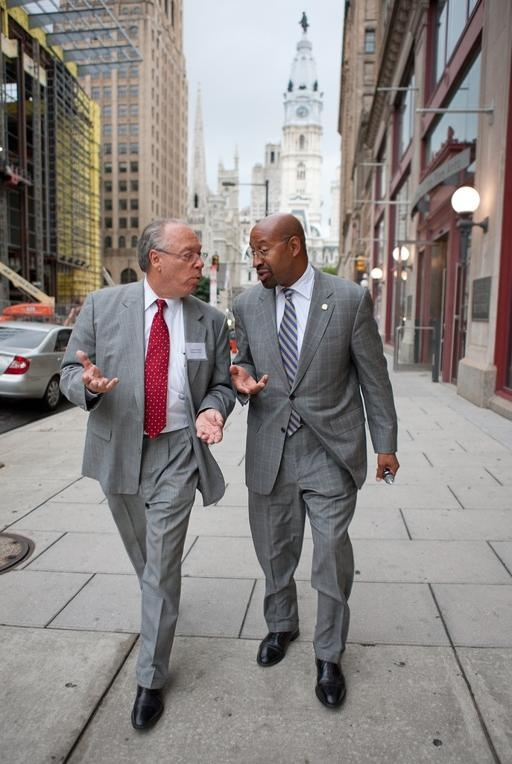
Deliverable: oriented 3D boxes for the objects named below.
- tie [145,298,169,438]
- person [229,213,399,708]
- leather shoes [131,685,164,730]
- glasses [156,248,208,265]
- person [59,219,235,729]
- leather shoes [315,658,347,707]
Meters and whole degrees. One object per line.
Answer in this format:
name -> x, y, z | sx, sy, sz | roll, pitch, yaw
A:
tie -> -0.391, -0.062, 2.383 | 0.093, 0.537, 0.134 | -1, 4, -2
person -> 0.202, 0.243, 2.509 | 0.650, 1.812, 0.517 | 3, 5, 41
leather shoes -> -0.373, 1.122, 2.072 | 0.096, 0.080, 0.154 | 0, 4, 1
glasses -> -0.263, -0.499, 2.380 | 0.110, 0.052, 0.233 | 3, 6, 43
person -> -0.370, 0.251, 2.331 | 0.706, 1.792, 0.649 | -2, 4, -19
leather shoes -> 0.277, 1.106, 2.229 | 0.113, 0.103, 0.181 | 0, 4, 7
